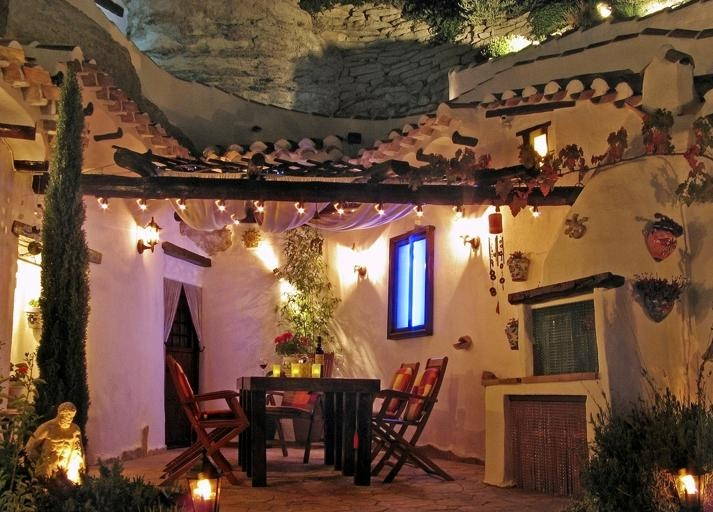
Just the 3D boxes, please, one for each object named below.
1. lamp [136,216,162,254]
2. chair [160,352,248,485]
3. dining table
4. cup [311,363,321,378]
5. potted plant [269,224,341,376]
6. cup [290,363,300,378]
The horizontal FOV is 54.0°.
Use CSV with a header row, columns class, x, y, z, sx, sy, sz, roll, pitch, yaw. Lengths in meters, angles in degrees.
class,x,y,z,sx,sy,sz,roll,pitch,yaw
lamp,-3.097,-0.293,10.480,0.355,0.561,0.292,-4,-6,33
chair,-1.718,1.795,7.683,0.933,1.242,0.943,3,-10,-16
dining table,-0.581,1.848,8.071,1.391,1.142,1.473,2,-10,-7
cup,-0.461,1.315,7.996,0.120,0.149,0.294,2,-8,-3
potted plant,-0.910,0.569,12.434,1.101,2.210,0.523,2,-7,-8
cup,-0.693,1.310,7.999,0.103,0.140,0.166,2,-8,-9
